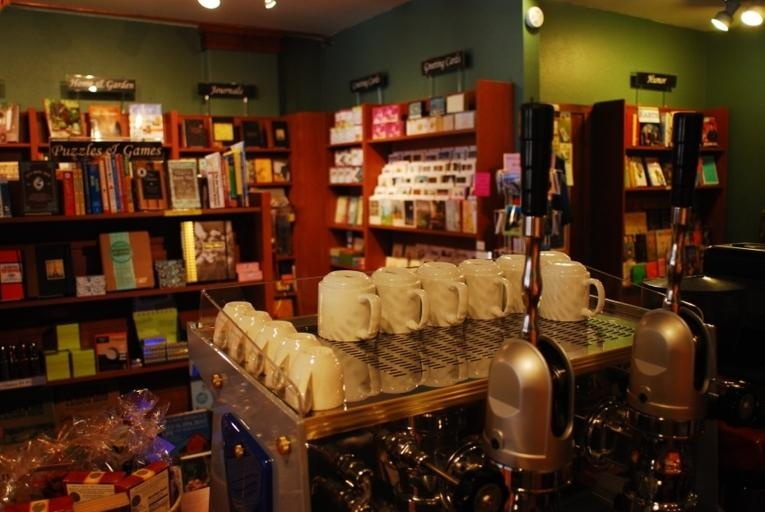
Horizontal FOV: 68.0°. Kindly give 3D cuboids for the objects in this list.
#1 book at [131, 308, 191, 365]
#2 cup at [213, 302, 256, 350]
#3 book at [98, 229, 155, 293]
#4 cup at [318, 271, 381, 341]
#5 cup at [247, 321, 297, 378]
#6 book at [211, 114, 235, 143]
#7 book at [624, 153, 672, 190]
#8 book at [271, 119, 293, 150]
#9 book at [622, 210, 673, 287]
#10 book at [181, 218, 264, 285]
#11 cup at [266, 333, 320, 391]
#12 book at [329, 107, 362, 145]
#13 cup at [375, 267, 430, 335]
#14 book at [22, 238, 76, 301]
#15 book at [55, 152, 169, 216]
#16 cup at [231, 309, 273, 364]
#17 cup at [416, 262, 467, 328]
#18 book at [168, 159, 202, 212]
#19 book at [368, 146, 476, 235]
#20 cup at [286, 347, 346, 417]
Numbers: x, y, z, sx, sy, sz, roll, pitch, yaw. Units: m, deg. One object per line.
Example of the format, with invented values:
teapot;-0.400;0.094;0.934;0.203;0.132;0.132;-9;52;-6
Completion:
book;-1.580;0.568;4.003;0.391;0.554;0.161;-6;-13;-26
cup;-0.444;0.199;1.684;0.089;0.101;0.122;1;3;-7
book;-1.741;0.051;3.827;0.383;0.404;0.104;0;-1;-25
cup;-0.100;0.147;1.736;0.127;0.171;0.216;-2;8;-18
cup;-0.302;0.246;1.522;0.129;0.108;0.096;-3;2;-26
book;-1.838;-1.431;6.482;0.323;0.379;0.047;1;-1;-42
book;2.609;-0.818;5.600;0.466;0.479;0.114;-3;-7;-23
book;-1.213;-1.427;6.703;0.278;0.536;0.285;-3;8;-12
book;2.279;-0.059;4.914;0.673;0.646;0.234;0;-2;-39
book;-1.171;-0.020;4.081;0.459;0.441;0.112;-10;9;-27
cup;-0.247;0.273;1.458;0.135;0.113;0.101;0;1;40
book;-0.410;-1.405;6.213;0.098;0.365;0.677;-7;10;-28
cup;0.051;0.137;1.749;0.157;0.168;0.184;-4;9;-3
book;-2.177;0.102;3.679;0.283;0.348;0.086;-7;9;-23
book;-1.782;-0.468;3.766;0.660;0.388;0.126;-9;10;-33
cup;-0.374;0.214;1.576;0.090;0.123;0.129;1;-4;4
cup;0.195;0.125;1.742;0.117;0.170;0.191;-4;11;-17
book;-1.391;-0.490;3.953;0.200;0.342;0.122;-8;9;-29
book;0.400;-0.605;5.340;0.279;0.587;0.870;-1;4;-39
cup;-0.164;0.296;1.385;0.125;0.117;0.173;-6;9;-14
